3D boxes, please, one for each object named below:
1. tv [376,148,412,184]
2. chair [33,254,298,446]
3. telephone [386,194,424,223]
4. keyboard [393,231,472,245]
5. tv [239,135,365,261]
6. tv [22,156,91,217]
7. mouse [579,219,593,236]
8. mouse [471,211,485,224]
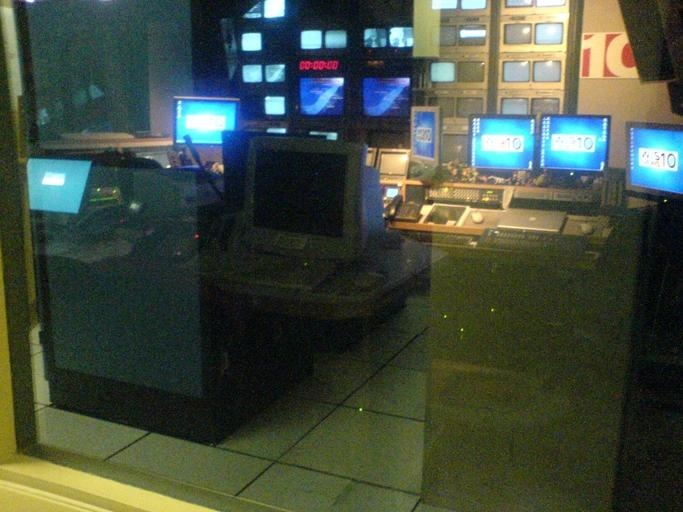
[{"bbox_3d":[0.313,-0.557,3.766,0.205,0.246,0.295,-2,-2,3],"label":"tv"},{"bbox_3d":[-0.591,0.211,2.274,0.726,0.512,0.730,6,9,21],"label":"chair"},{"bbox_3d":[0.332,-0.237,3.163,0.168,0.150,0.256,-2,-2,19],"label":"telephone"},{"bbox_3d":[0.489,-0.088,2.990,0.167,0.036,0.146,10,12,35],"label":"keyboard"},{"bbox_3d":[-0.117,-0.177,1.929,0.450,0.379,0.181,-3,-3,26],"label":"tv"},{"bbox_3d":[-0.820,-0.204,1.791,0.171,0.142,0.039,8,3,-8],"label":"tv"},{"bbox_3d":[0.538,-0.064,1.372,0.016,0.025,0.045,18,-11,20],"label":"mouse"},{"bbox_3d":[0.623,-0.182,2.870,0.054,0.048,0.053,-31,17,-15],"label":"mouse"}]
